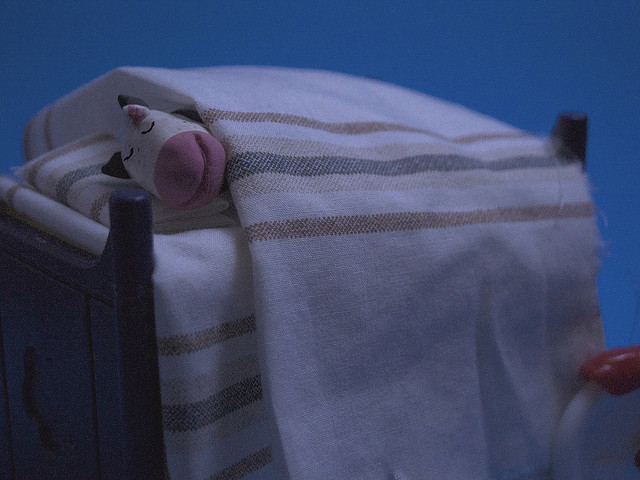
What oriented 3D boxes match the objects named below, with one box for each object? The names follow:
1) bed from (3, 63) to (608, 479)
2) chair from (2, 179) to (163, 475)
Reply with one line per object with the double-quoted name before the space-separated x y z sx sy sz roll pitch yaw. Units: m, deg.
"bed" -0.049 0.149 1.884 0.902 0.579 0.905 -5 9 -33
"chair" -0.401 0.106 1.635 0.352 0.341 0.449 -3 16 -23
